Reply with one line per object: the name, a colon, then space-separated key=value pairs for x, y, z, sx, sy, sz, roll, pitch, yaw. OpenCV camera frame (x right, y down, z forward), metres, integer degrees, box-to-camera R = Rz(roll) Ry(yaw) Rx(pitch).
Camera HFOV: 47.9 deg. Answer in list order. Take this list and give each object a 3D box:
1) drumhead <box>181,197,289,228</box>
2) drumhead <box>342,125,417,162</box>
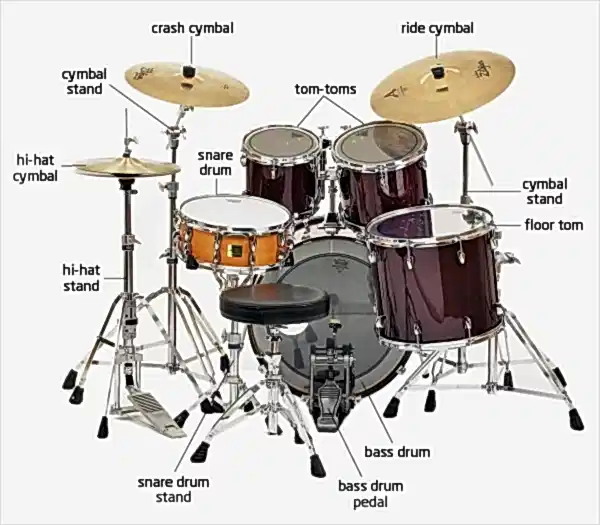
drumhead: x=-0.297 y=-0.227 z=3.051 sx=0.500 sy=0.125 sz=0.418 roll=-1 pitch=9 yaw=7
drumhead: x=0.400 y=-0.581 z=3.381 sx=0.307 sy=0.062 sz=0.270 roll=-1 pitch=29 yaw=7
